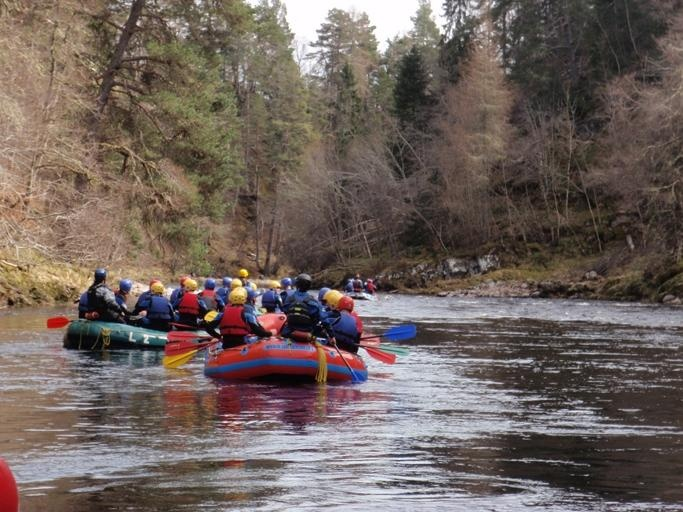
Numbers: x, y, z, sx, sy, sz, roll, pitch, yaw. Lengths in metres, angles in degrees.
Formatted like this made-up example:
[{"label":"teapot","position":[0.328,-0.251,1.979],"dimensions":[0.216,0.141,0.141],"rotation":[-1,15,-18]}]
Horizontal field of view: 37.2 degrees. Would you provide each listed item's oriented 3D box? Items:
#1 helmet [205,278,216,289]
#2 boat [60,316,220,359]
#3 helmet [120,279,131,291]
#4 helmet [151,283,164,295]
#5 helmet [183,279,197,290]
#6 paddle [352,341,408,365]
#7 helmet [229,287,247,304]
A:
[{"label":"helmet","position":[-4.135,0.891,31.398],"dimensions":[0.251,0.309,0.314],"rotation":[3,19,-4]},{"label":"boat","position":[-6.424,2.368,29.389],"dimensions":[3.089,0.582,1.725],"rotation":[4,0,-7]},{"label":"helmet","position":[-6.491,0.888,30.177],"dimensions":[0.317,0.343,0.395],"rotation":[9,14,-8]},{"label":"helmet","position":[-5.467,0.950,29.722],"dimensions":[0.398,0.349,0.293],"rotation":[0,21,-15]},{"label":"helmet","position":[-4.490,0.847,29.634],"dimensions":[0.363,0.324,0.653],"rotation":[0,-7,-10]},{"label":"paddle","position":[1.071,2.653,27.675],"dimensions":[1.753,0.518,0.196],"rotation":[11,4,2]},{"label":"helmet","position":[-2.697,1.042,26.087],"dimensions":[0.510,0.447,0.383],"rotation":[3,-8,-33]}]
